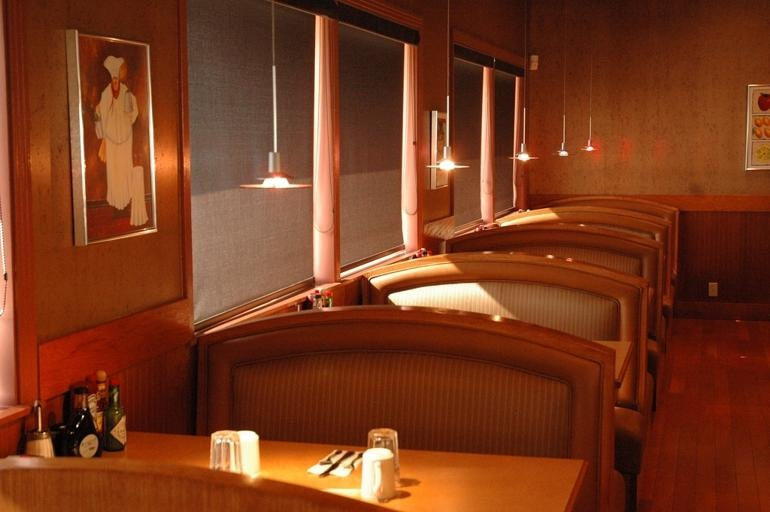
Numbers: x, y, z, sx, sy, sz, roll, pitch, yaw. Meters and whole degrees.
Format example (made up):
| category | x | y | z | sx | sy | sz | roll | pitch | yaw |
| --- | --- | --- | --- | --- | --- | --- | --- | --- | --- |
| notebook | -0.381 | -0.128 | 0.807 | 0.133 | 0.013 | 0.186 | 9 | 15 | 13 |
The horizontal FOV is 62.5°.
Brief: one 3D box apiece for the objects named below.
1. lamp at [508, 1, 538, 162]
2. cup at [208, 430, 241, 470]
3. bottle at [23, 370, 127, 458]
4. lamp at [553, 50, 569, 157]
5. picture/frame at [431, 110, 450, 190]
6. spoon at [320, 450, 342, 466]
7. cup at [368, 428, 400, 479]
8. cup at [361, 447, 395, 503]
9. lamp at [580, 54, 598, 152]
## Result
| category | x | y | z | sx | sy | sz | roll | pitch | yaw |
| --- | --- | --- | --- | --- | --- | --- | --- | --- | --- |
| lamp | 1.681 | -2.124 | 7.663 | 0.211 | 1.983 | 0.658 | 1 | 7 | 22 |
| cup | -0.496 | 0.610 | 1.973 | 0.097 | 0.116 | 0.073 | -3 | 7 | -5 |
| bottle | -1.013 | 0.542 | 2.124 | 0.250 | 0.263 | 0.349 | -3 | 8 | -4 |
| lamp | 2.183 | -1.884 | 7.844 | 0.139 | 1.326 | 0.081 | 4 | 9 | 42 |
| picture/frame | 0.436 | -0.858 | 5.161 | 0.093 | 0.607 | 0.430 | 0 | 8 | 17 |
| spoon | -0.170 | 0.662 | 2.083 | 0.023 | 0.012 | 0.082 | 3 | 7 | 14 |
| cup | 0.002 | 0.619 | 2.008 | 0.122 | 0.177 | 0.120 | 0 | 2 | 0 |
| cup | -0.017 | 0.643 | 1.849 | 0.083 | 0.119 | 0.135 | 1 | 8 | 4 |
| lamp | 2.445 | -1.834 | 7.699 | 0.172 | 1.164 | 0.181 | 3 | 8 | 38 |
